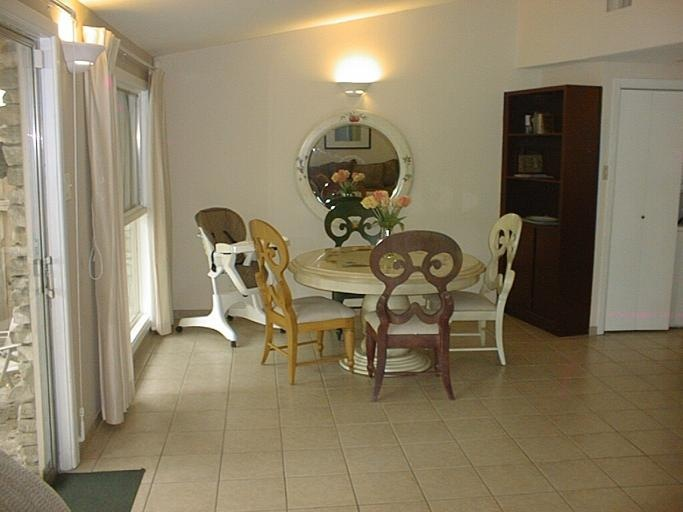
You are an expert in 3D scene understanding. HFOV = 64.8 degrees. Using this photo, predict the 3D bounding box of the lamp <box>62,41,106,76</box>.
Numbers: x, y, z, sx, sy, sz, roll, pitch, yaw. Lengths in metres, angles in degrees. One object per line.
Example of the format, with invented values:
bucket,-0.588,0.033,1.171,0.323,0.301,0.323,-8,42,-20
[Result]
lamp,-1.423,-1.101,3.011,0.182,0.148,0.206,2,11,-1

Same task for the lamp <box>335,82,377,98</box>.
lamp,0.158,-1.742,5.629,0.344,0.139,0.146,1,13,3

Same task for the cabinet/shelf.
cabinet/shelf,2.092,-0.475,5.396,0.490,2.330,1.043,-5,14,-19

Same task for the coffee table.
coffee table,0.492,0.423,3.985,0.774,1.190,0.693,-1,4,-21

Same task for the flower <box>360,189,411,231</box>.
flower,0.382,-0.427,4.871,0.440,0.422,0.412,-5,14,-10

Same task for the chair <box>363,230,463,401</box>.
chair,0.512,0.370,3.975,0.697,1.243,0.836,2,14,9

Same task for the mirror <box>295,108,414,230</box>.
mirror,0.099,-0.949,5.591,1.427,1.365,0.093,0,5,-3
